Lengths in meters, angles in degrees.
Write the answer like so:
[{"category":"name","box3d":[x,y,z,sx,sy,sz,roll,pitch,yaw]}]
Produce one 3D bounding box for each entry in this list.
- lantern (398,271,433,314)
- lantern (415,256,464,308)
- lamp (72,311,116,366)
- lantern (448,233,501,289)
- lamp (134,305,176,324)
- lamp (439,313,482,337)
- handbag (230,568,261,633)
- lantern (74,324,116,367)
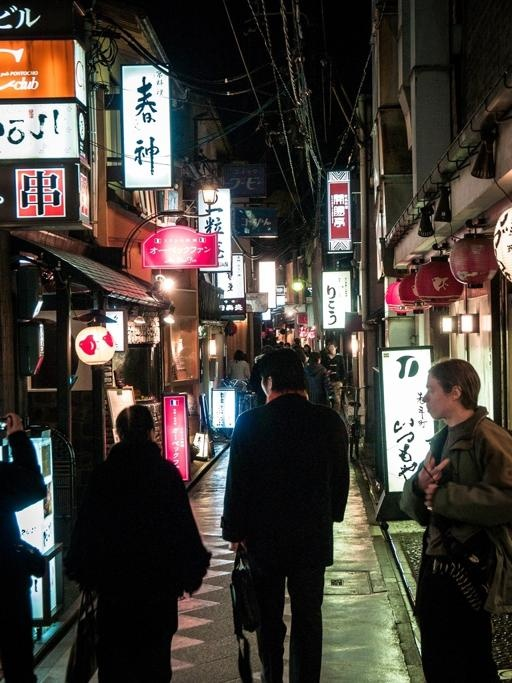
[{"category":"lantern","box3d":[2.171,-0.687,10.187,0.459,0.630,0.505,-1,1,2]},{"category":"lantern","box3d":[2.004,-0.656,8.083,0.461,0.627,0.500,0,-1,-2]},{"category":"lamp","box3d":[-2.156,-0.048,10.282,0.596,0.980,0.637,1,-6,-11]},{"category":"lantern","box3d":[1.830,-0.700,6.203,0.370,0.521,0.409,-1,-1,-2]},{"category":"lamp","box3d":[-2.210,-0.569,15.715,0.741,0.337,0.241,-9,21,-17]},{"category":"lamp","box3d":[2.520,-0.221,8.958,0.289,0.276,1.274,-2,-2,8]},{"category":"handbag","box3d":[-0.067,1.483,4.093,0.142,0.397,0.265,-2,-2,-3]},{"category":"lantern","box3d":[-2.227,0.034,10.035,0.462,0.631,0.504,-2,3,-6]}]
